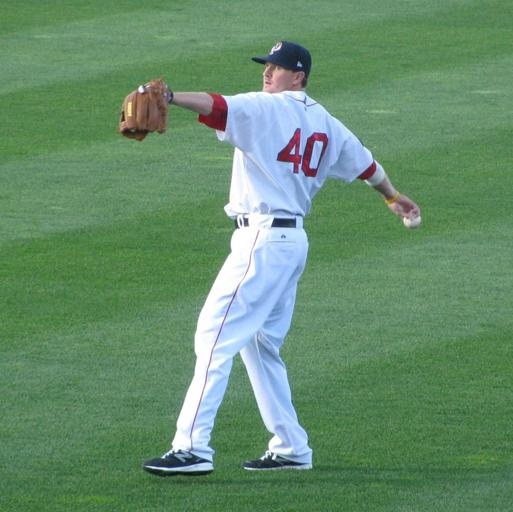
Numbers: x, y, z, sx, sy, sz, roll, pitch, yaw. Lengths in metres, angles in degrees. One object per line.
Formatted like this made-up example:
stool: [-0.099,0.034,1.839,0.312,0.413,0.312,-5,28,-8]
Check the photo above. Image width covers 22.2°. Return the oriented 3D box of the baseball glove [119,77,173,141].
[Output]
baseball glove: [-0.652,-0.835,7.423,0.257,0.292,0.211,0,26,-15]

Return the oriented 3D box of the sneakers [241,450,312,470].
sneakers: [0.100,1.245,7.791,0.432,0.173,0.148,4,-7,-5]

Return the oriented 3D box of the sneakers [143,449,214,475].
sneakers: [-0.451,1.183,7.446,0.399,0.194,0.141,4,-6,-9]

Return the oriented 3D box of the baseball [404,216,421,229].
baseball: [0.967,-0.226,8.338,0.088,0.091,0.051,12,55,-21]
